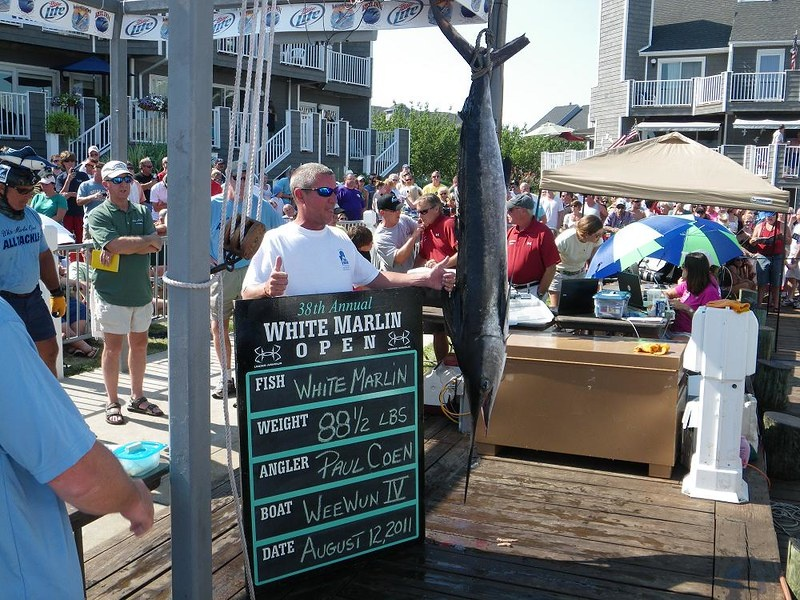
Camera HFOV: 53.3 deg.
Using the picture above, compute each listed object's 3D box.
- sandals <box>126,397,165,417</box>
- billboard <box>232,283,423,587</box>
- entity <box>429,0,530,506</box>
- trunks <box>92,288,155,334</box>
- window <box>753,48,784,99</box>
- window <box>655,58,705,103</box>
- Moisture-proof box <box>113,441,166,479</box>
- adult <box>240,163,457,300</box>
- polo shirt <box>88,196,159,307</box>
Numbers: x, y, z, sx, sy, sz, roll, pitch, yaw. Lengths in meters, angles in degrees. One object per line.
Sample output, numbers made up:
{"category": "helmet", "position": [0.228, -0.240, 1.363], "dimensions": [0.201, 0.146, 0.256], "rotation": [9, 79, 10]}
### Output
{"category": "sandals", "position": [-2.310, 0.966, 7.289], "dimensions": [0.289, 0.134, 0.153], "rotation": [5, 6, 17]}
{"category": "billboard", "position": [-0.457, 0.831, 4.836], "dimensions": [1.532, 2.170, 0.089], "rotation": [-3, 0, -33]}
{"category": "entity", "position": [0.418, -0.271, 4.442], "dimensions": [0.535, 2.594, 0.271], "rotation": [4, 15, 23]}
{"category": "trunks", "position": [-2.474, 0.163, 7.220], "dimensions": [0.321, 0.572, 0.567], "rotation": [-1, 1, 44]}
{"category": "window", "position": [13.952, -8.422, 30.064], "dimensions": [0.989, 2.321, 0.142], "rotation": [4, -21, 22]}
{"category": "window", "position": [11.447, -8.841, 32.411], "dimensions": [1.823, 0.149, 2.318], "rotation": [7, -33, 24]}
{"category": "Moisture-proof box", "position": [-1.363, 0.794, 4.209], "dimensions": [0.189, 0.092, 0.230], "rotation": [8, 8, 30]}
{"category": "adult", "position": [-0.433, -0.292, 5.002], "dimensions": [1.431, 1.161, 0.769], "rotation": [3, -5, -41]}
{"category": "polo shirt", "position": [-2.477, -0.418, 7.174], "dimensions": [0.472, 0.938, 0.599], "rotation": [10, 15, 28]}
